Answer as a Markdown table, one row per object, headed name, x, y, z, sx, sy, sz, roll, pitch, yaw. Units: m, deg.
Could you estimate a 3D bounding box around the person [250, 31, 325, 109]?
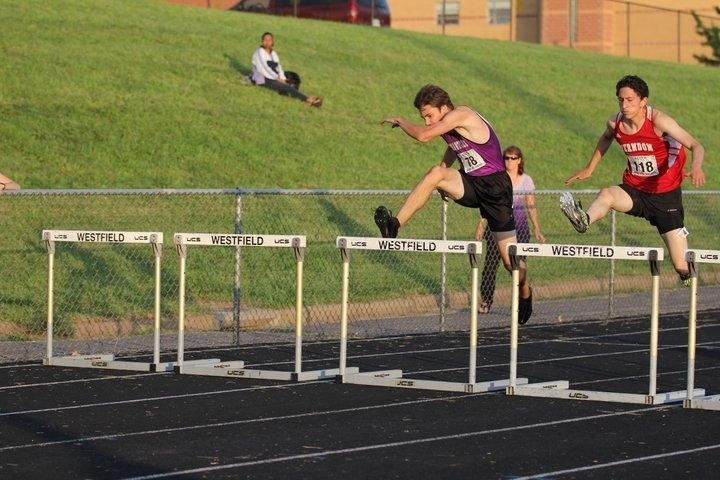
| name | x | y | z | sx | sy | sz | roll | pitch | yaw |
| --- | --- | --- | --- | --- | --- | --- | --- | --- | --- |
| person | -1.537 | -3.848 | 36.297 | 2.296 | 1.570 | 1.083 | 18 | 23 | 3 |
